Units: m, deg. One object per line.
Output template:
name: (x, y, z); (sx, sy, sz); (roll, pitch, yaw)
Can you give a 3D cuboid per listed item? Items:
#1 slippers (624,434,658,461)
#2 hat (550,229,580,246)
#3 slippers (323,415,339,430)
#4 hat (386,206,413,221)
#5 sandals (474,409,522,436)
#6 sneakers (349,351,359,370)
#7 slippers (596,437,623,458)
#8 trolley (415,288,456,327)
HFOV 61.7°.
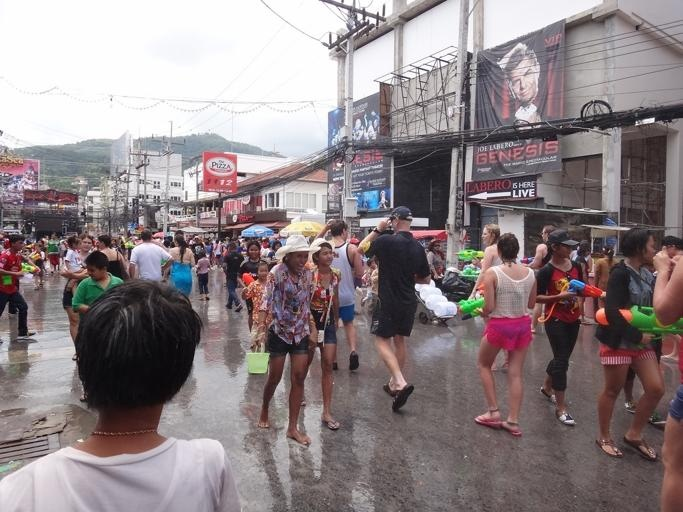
slippers: (3.100, 1.959, 5.881); (0.318, 0.159, 0.277); (4, 9, 21)
hat: (2.582, -0.209, 6.606); (0.280, 0.152, 0.182); (5, 9, 12)
slippers: (-0.113, 1.850, 6.308); (0.093, 0.056, 0.166); (1, 0, -31)
hat: (0.724, -0.524, 7.185); (0.221, 0.176, 0.301); (5, 3, -23)
sandals: (1.744, 1.803, 6.349); (0.206, 0.205, 0.465); (3, 5, -37)
sneakers: (0.179, 1.519, 8.251); (0.135, 0.268, 0.110); (0, 13, -18)
slippers: (2.782, 1.962, 5.865); (0.226, 0.130, 0.220); (2, 8, 3)
trolley: (2.054, 1.101, 12.541); (0.621, 0.723, 1.070); (5, 3, -30)
